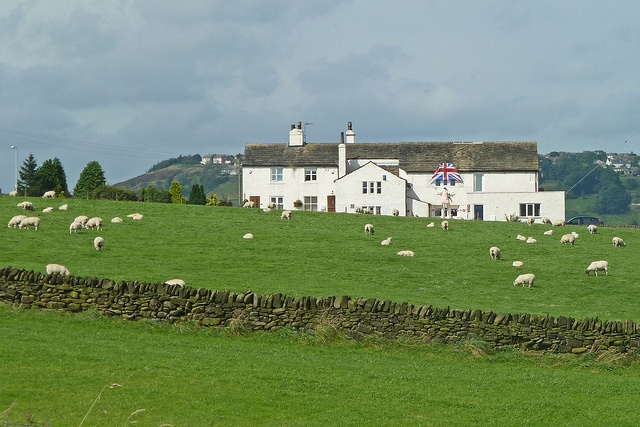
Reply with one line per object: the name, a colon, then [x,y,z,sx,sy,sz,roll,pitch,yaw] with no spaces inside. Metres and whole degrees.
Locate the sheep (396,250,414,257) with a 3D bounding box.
sheep: [6.862,3.266,91.993,1.509,0.468,0.476,1,2,-6]

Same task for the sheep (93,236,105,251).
sheep: [-16.844,2.343,87.549,0.718,1.006,1.048,2,-2,-12]

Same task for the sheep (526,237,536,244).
sheep: [18.511,2.345,99.780,0.913,0.511,1.172,1,-2,10]

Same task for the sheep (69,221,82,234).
sheep: [-19.752,1.142,92.525,0.930,1.037,1.453,1,-2,1]

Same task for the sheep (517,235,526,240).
sheep: [17.874,2.154,101.040,0.862,0.515,1.173,2,-2,-14]

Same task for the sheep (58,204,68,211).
sheep: [-22.700,-0.493,101.366,0.410,0.360,0.774,-1,-4,-39]

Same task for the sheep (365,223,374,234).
sheep: [4.419,1.407,100.822,0.788,0.905,1.268,1,-2,1]

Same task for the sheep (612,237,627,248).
sheep: [26.251,2.518,100.133,1.113,0.843,1.436,1,-2,12]

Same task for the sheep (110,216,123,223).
sheep: [-17.282,0.562,97.662,0.850,0.457,0.428,-4,9,-10]

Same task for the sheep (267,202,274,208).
sheep: [-4.948,-0.795,115.839,0.656,0.284,0.719,-2,4,-24]

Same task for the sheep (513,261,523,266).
sheep: [15.755,4.004,90.672,0.881,0.445,1.227,1,-2,9]

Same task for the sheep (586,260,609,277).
sheep: [21.612,4.304,88.970,1.968,1.210,1.318,2,-2,-27]

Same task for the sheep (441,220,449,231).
sheep: [11.582,1.156,105.273,0.699,0.921,2.386,1,-2,5]

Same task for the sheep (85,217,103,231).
sheep: [-18.575,0.848,94.377,1.476,1.044,1.066,1,-2,2]

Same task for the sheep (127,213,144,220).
sheep: [-16.324,0.359,100.633,1.696,0.776,0.521,-2,25,12]

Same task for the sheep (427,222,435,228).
sheep: [10.376,1.086,106.566,0.564,0.397,0.541,6,-5,-30]

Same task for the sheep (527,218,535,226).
sheep: [20.814,0.953,112.767,0.844,0.375,1.060,-3,19,21]

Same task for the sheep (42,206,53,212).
sheep: [-23.629,-0.249,99.769,0.701,0.377,0.388,-19,-44,-2]

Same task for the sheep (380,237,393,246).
sheep: [5.652,2.412,95.868,0.842,0.787,0.501,11,-37,2]

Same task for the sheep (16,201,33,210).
sheep: [-25.659,-0.649,100.343,1.307,0.866,1.602,2,-3,-31]
